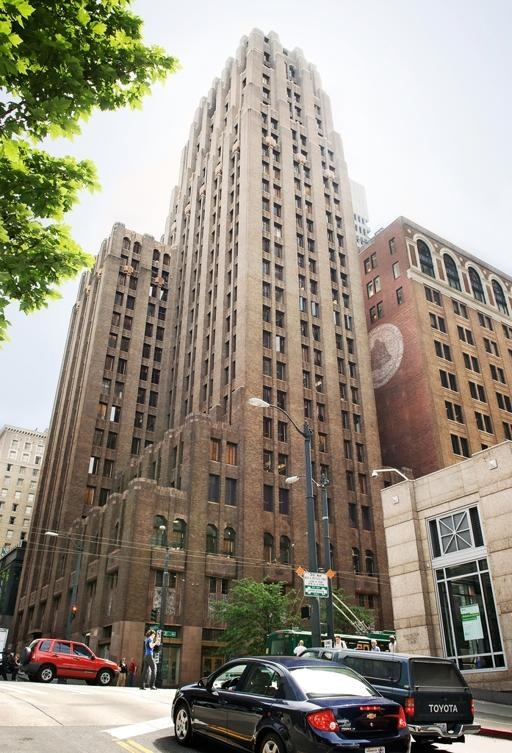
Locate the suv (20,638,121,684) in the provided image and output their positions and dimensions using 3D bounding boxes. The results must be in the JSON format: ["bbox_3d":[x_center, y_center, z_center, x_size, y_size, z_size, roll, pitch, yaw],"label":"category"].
[{"bbox_3d":[-8.468,13.099,22.725,4.347,2.021,2.105,15,-38,-29],"label":"suv"}]

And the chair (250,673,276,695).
[{"bbox_3d":[0.094,3.846,6.107,0.306,0.312,0.270,0,-29,8],"label":"chair"}]
